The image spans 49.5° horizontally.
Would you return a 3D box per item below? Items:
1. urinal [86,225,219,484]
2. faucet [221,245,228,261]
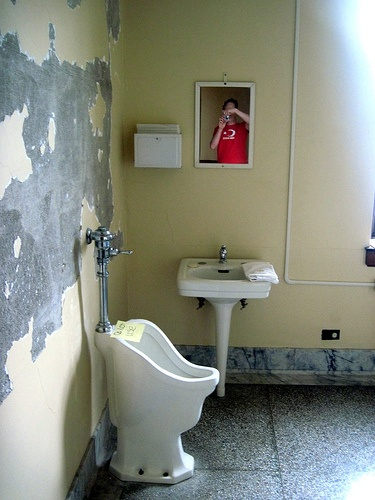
[{"bbox_3d":[-0.129,0.414,1.597,0.489,1.022,0.348,0,7,-2],"label":"urinal"},{"bbox_3d":[0.213,0.013,2.412,0.038,0.089,0.143,1,8,5],"label":"faucet"}]
